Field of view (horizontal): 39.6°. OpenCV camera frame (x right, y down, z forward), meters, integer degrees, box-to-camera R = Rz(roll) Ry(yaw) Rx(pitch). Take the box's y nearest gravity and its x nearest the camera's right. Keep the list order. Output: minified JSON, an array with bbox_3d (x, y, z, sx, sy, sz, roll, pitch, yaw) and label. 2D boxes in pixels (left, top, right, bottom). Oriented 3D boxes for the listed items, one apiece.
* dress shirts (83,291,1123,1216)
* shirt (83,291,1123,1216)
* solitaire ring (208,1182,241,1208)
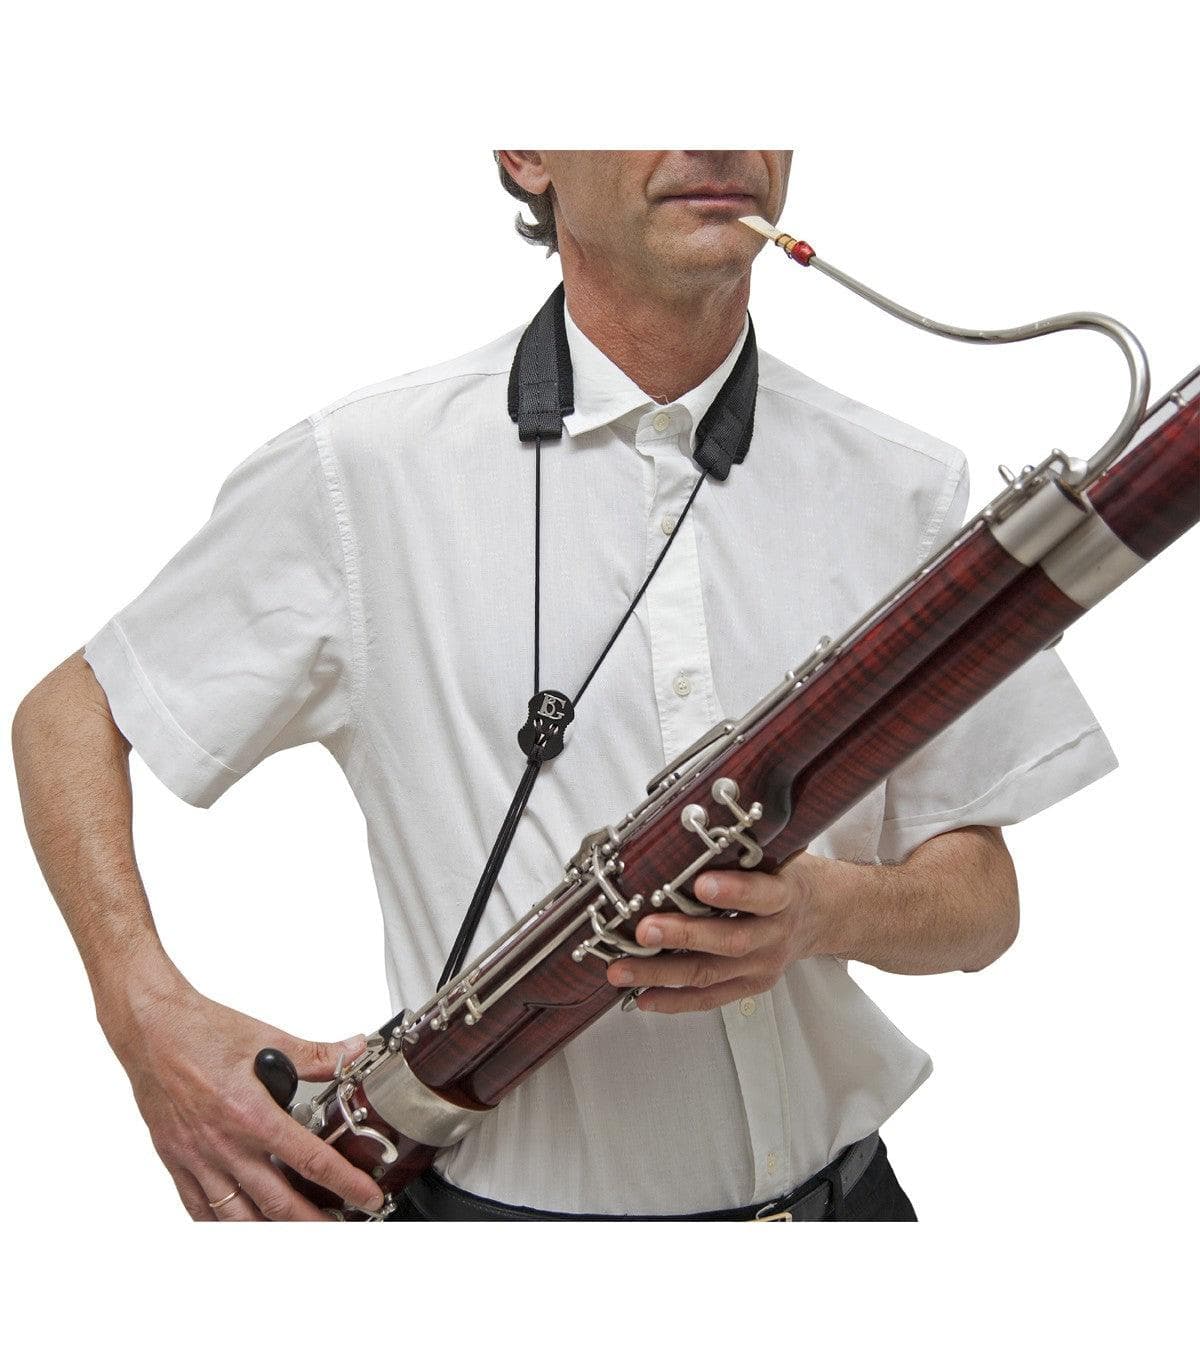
[{"bbox_3d":[0.009,0.160,2.924,2.364,1.384,0.649,3,-2,-1],"label":"dress shirts"},{"bbox_3d":[0.009,0.160,2.924,2.364,1.384,0.649,3,-2,-1],"label":"shirt"},{"bbox_3d":[-0.696,0.934,3.039,0.053,0.048,0.032,5,-12,24],"label":"solitaire ring"}]
